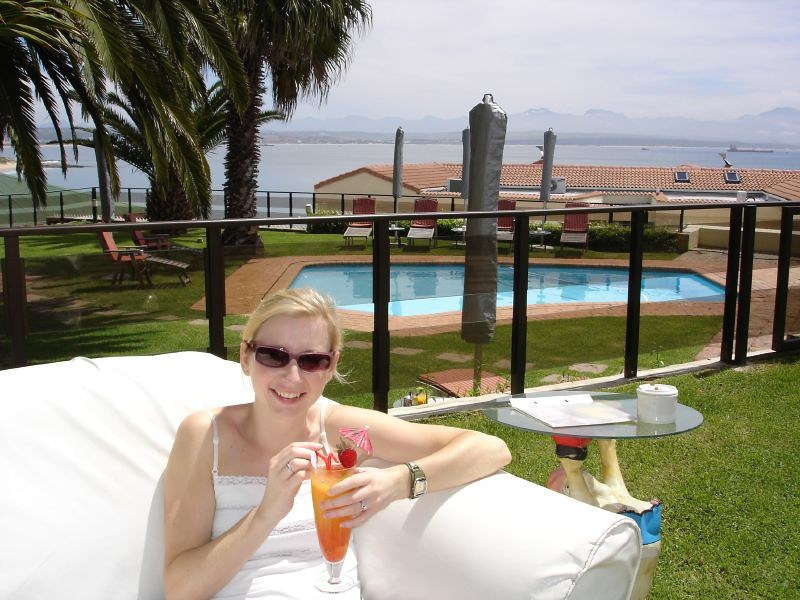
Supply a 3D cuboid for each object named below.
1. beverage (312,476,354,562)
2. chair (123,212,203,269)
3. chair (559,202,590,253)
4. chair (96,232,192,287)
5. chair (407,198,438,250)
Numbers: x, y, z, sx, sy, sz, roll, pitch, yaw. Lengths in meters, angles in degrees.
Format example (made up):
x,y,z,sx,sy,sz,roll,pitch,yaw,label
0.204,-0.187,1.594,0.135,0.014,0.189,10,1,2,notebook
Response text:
x,y,z,sx,sy,sz,roll,pitch,yaw,label
-0.194,0.619,1.704,0.102,0.329,0.068,-3,14,-10,beverage
-1.429,-0.363,3.727,0.422,0.293,0.247,4,15,-4,chair
1.487,-0.631,5.141,0.228,0.393,0.284,2,38,9,chair
-1.559,-0.255,3.679,0.366,0.250,0.265,0,13,-5,chair
0.174,-0.600,4.595,0.198,0.334,0.368,4,15,5,chair
